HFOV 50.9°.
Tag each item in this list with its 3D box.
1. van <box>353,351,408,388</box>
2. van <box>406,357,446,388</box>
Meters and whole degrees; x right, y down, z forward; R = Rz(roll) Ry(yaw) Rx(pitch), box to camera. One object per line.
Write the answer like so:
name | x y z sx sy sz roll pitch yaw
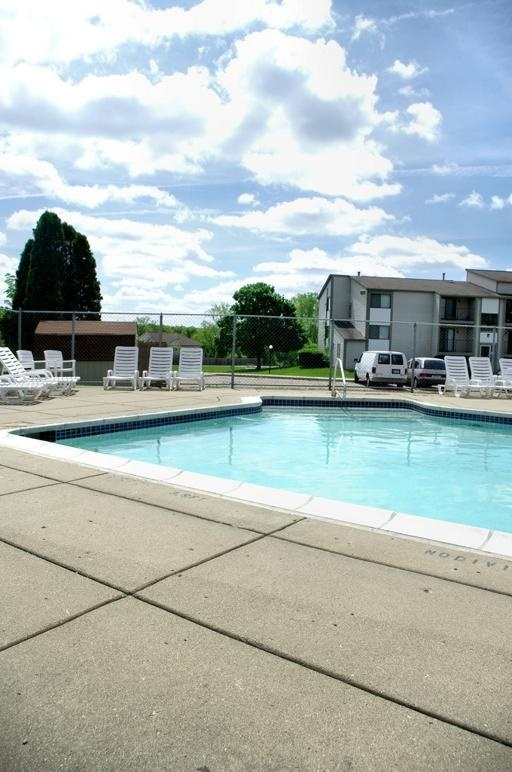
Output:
van | 5.127 -0.715 22.285 1.212 0.961 2.202 1 7 -3
van | 7.185 -0.483 22.326 1.430 1.233 2.749 -1 9 3
